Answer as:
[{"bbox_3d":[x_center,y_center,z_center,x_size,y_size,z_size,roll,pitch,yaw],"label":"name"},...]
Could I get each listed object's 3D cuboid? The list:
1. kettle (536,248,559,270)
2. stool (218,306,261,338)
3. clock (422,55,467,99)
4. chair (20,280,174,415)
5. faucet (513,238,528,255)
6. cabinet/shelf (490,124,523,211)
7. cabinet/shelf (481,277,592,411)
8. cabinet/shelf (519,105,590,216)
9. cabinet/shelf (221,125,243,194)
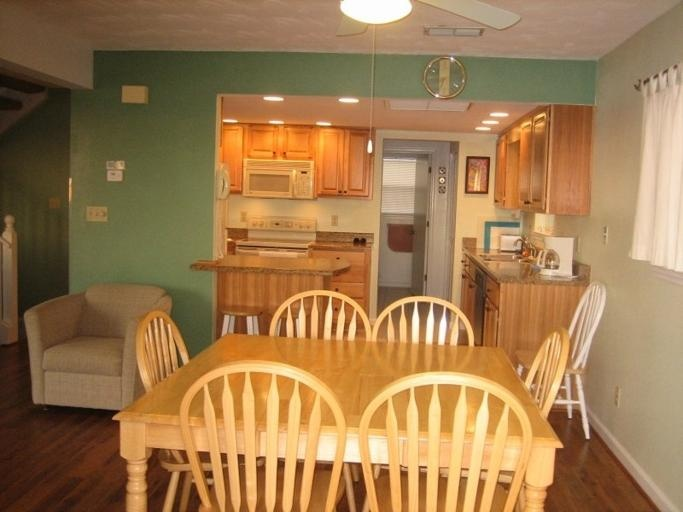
[{"bbox_3d":[1.761,0.019,4.795,0.145,0.168,0.168,0,8,-6],"label":"kettle"},{"bbox_3d":[-0.857,0.522,4.713,0.280,0.350,0.287,0,13,-3],"label":"stool"},{"bbox_3d":[0.850,-1.481,4.562,0.330,0.347,0.037,-1,12,4],"label":"clock"},{"bbox_3d":[-1.757,0.689,4.519,1.016,1.097,1.096,1,-4,4],"label":"chair"},{"bbox_3d":[2.032,-0.101,6.288,0.134,0.155,0.150,-2,12,-13],"label":"faucet"},{"bbox_3d":[1.766,-0.964,5.927,0.151,0.578,0.936,1,6,6],"label":"cabinet/shelf"},{"bbox_3d":[1.533,0.628,4.745,0.994,1.648,0.836,0,2,14],"label":"cabinet/shelf"},{"bbox_3d":[1.791,-0.802,4.616,0.314,0.777,0.877,1,7,5],"label":"cabinet/shelf"},{"bbox_3d":[-1.352,-1.206,6.929,0.276,0.848,0.111,0,12,-8],"label":"cabinet/shelf"}]
